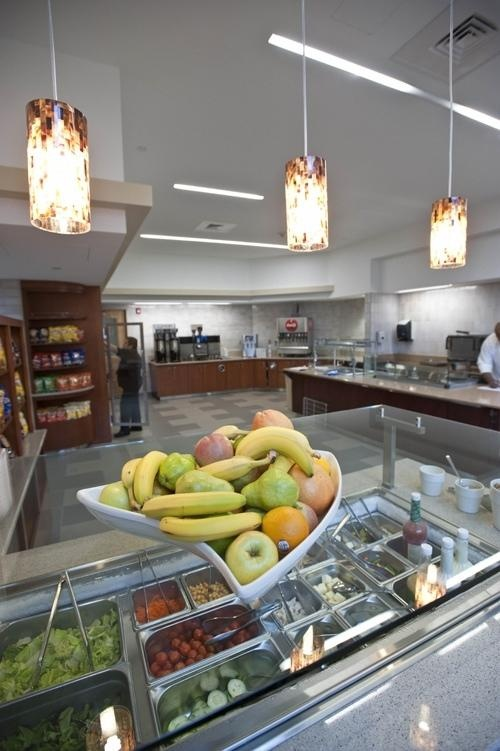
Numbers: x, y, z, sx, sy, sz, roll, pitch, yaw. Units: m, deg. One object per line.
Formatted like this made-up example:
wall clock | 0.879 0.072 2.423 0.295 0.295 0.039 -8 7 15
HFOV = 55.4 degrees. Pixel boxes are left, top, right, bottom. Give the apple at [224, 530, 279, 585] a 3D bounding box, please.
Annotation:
apple | 0.002 0.282 0.744 0.081 0.058 0.062 3 11 4

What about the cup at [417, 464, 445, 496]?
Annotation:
cup | 0.580 0.333 1.535 0.079 0.073 0.093 1 1 2

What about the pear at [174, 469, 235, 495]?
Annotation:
pear | -0.079 0.169 0.797 0.082 0.043 0.040 6 0 1

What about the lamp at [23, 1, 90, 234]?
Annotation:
lamp | -0.554 -0.593 1.378 0.159 0.320 0.296 -2 12 -23

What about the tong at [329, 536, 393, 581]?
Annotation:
tong | 0.253 0.385 1.009 0.054 0.014 0.087 0 17 -39

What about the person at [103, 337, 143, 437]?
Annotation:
person | -1.718 0.113 6.704 0.404 1.416 0.436 4 5 -44

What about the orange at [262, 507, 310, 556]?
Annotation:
orange | 0.055 0.248 0.808 0.065 0.063 0.076 31 3 -14

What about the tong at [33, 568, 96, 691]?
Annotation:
tong | -0.331 0.430 0.837 0.084 0.023 0.288 -2 12 -23

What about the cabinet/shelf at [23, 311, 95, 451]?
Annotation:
cabinet/shelf | -2.176 0.081 5.498 0.765 1.998 0.424 -4 7 -26

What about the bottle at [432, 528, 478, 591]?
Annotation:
bottle | 0.442 0.402 1.035 0.079 0.085 0.047 -1 4 -37

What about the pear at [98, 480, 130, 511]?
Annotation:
pear | -0.239 0.218 0.865 0.045 0.055 0.045 8 -21 0

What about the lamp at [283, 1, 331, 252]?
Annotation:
lamp | 0.295 -1.379 2.484 0.181 1.431 0.159 -3 8 -41

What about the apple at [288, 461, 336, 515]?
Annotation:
apple | 0.112 0.216 0.940 0.091 0.088 0.090 5 14 -1

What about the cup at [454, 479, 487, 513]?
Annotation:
cup | 0.653 0.353 1.432 0.080 0.080 0.092 0 5 0

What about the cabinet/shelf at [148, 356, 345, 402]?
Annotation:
cabinet/shelf | -0.630 0.017 10.556 2.912 0.893 0.504 -1 11 -15

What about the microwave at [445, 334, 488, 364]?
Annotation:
microwave | 2.965 -0.375 6.510 0.266 0.332 0.441 -7 12 -27

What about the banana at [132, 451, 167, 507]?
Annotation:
banana | -0.197 0.189 0.913 0.071 0.053 0.169 0 14 -12

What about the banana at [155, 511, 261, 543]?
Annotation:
banana | -0.057 0.244 0.770 0.173 0.052 0.058 -1 11 -17
